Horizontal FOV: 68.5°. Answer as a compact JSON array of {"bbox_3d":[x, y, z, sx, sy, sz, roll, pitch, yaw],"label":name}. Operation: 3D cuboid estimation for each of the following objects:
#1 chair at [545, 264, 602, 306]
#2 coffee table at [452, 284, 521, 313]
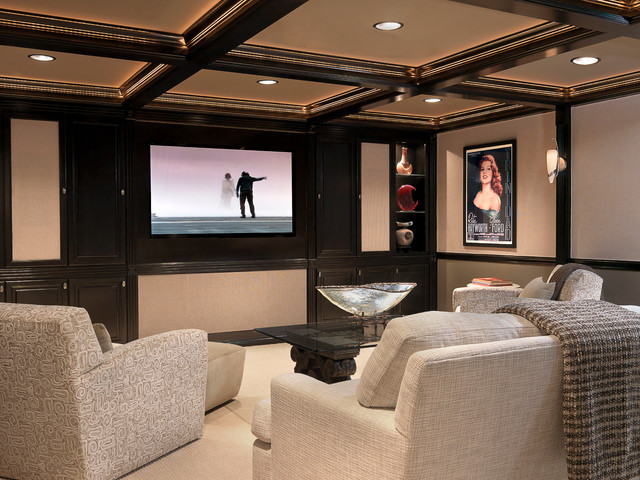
[{"bbox_3d":[1.862,0.341,3.468,0.276,0.282,0.306,7,14,-5],"label":"chair"},{"bbox_3d":[1.807,0.649,5.214,0.465,0.381,0.459,0,-3,22],"label":"coffee table"}]
